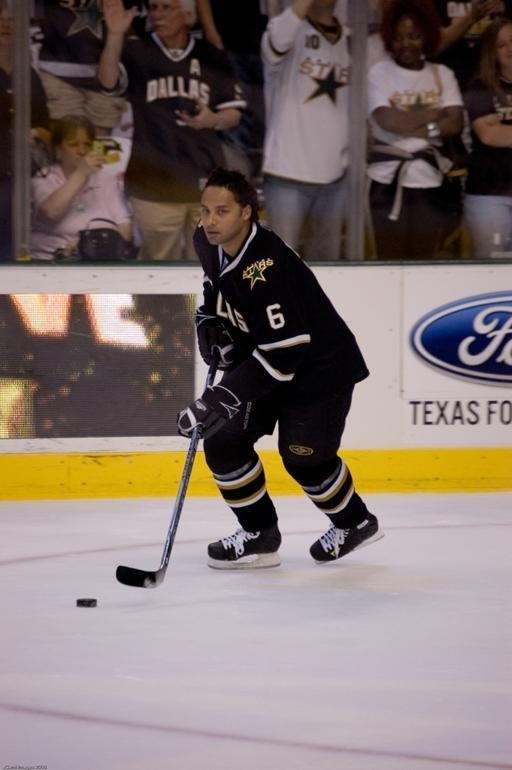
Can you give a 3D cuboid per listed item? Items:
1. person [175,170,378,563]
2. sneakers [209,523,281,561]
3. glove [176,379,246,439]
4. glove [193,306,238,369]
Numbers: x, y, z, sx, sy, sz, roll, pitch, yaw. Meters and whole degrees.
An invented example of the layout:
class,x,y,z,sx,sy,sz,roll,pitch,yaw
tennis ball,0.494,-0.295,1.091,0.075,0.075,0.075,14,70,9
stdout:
class,x,y,z,sx,sy,sz,roll,pitch,yaw
person,0.075,-0.014,2.514,0.543,1.103,0.468,1,7,3
sneakers,-0.031,0.456,2.656,0.255,0.127,0.078,2,0,-4
glove,-0.111,0.064,2.411,0.179,0.116,0.072,-32,-17,7
glove,-0.125,-0.140,2.686,0.070,0.149,0.156,-27,24,-23
